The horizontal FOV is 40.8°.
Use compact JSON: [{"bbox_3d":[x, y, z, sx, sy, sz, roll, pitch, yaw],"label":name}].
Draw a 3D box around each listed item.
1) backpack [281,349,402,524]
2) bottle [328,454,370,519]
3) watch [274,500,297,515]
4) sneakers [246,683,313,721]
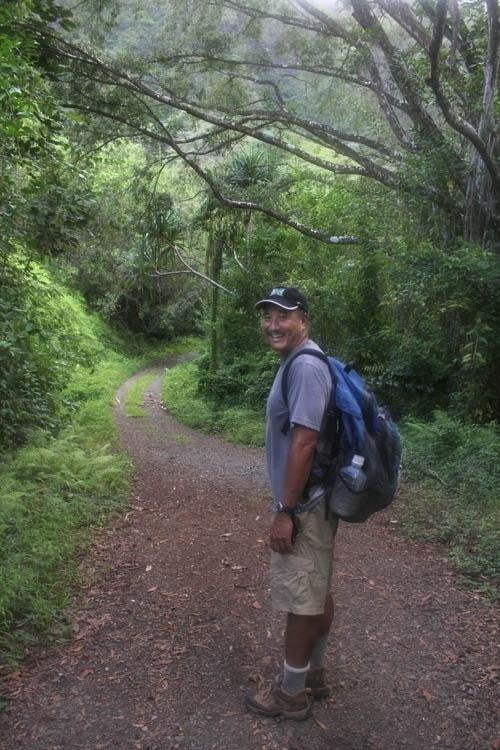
[{"bbox_3d":[0.480,0.281,3.257,0.575,0.836,0.334,-6,9,-29],"label":"backpack"},{"bbox_3d":[0.465,0.554,3.186,0.178,0.341,0.112,-1,8,6],"label":"bottle"},{"bbox_3d":[0.163,0.628,3.165,0.066,0.036,0.063,23,-14,-24],"label":"watch"},{"bbox_3d":[0.145,1.667,3.459,0.363,0.170,0.148,-3,-33,19],"label":"sneakers"}]
